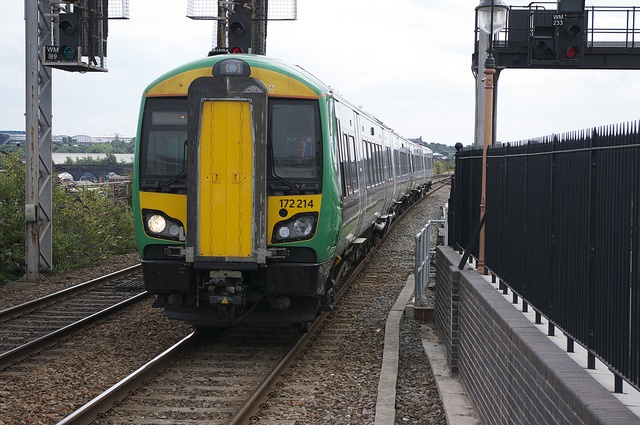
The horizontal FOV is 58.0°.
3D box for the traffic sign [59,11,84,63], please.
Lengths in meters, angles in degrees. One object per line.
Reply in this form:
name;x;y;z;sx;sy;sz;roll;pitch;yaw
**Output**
traffic sign;-6.124;-4.289;14.203;0.627;1.035;0.452;-14;8;-20
